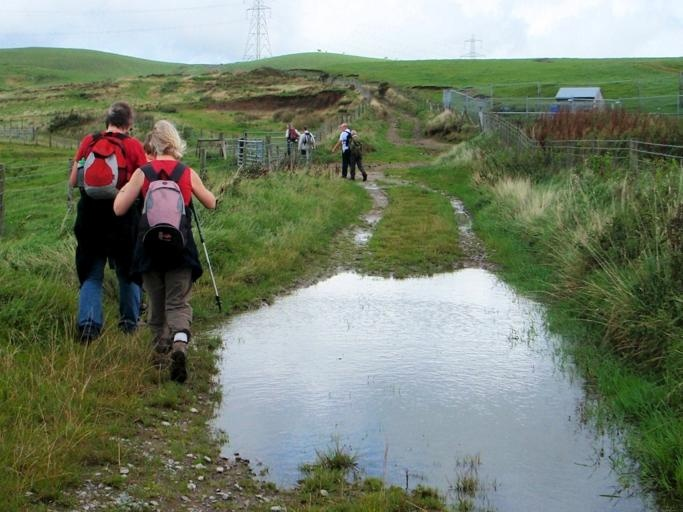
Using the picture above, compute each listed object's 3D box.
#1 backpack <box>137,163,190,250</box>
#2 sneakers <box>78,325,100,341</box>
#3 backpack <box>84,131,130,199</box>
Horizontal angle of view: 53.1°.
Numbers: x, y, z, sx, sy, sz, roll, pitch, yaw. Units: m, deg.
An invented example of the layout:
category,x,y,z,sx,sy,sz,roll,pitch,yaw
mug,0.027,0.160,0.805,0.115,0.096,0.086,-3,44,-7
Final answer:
category,x,y,z,sx,sy,sz,roll,pitch,yaw
backpack,-1.931,-0.512,7.441,0.482,0.884,0.444,-3,14,-15
sneakers,-2.919,0.893,7.886,0.158,0.145,0.199,1,-9,-5
backpack,-2.785,-1.041,7.965,0.508,0.829,0.450,4,3,-17
